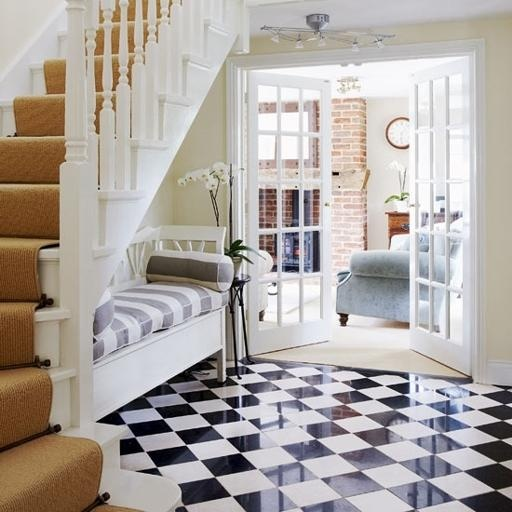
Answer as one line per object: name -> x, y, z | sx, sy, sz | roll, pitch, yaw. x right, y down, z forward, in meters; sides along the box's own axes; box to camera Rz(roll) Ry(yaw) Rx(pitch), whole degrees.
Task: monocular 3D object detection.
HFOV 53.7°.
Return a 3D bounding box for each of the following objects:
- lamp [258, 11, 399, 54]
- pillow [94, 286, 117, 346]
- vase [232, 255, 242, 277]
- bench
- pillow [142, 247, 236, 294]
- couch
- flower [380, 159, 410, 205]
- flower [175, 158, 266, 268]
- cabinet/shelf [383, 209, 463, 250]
lamp -> 0.490, -1.475, 3.442 | 0.905, 0.219, 0.496 | 0, 5, -2
pillow -> -0.594, 0.245, 1.990 | 0.067, 0.136, 0.234 | -3, 18, -2
vase -> -0.121, 0.075, 3.531 | 0.104, 0.115, 0.106 | 1, 10, 0
bench -> -0.460, 0.362, 2.910 | 0.734, 1.011, 1.808 | -1, 6, -12
pillow -> -0.439, 0.096, 3.318 | 0.589, 0.256, 0.217 | 6, 1, 22
couch -> 1.212, 0.148, 4.841 | 0.866, 1.098, 2.496 | 1, 5, 9
flower -> 2.101, -1.111, 7.548 | 0.346, 0.650, 0.651 | 1, 5, 14
flower -> -0.259, -0.279, 3.555 | 0.549, 0.728, 0.381 | 0, -1, -5
cabinet/shelf -> 2.148, -0.440, 7.074 | 0.709, 0.692, 0.500 | -1, 2, 23
